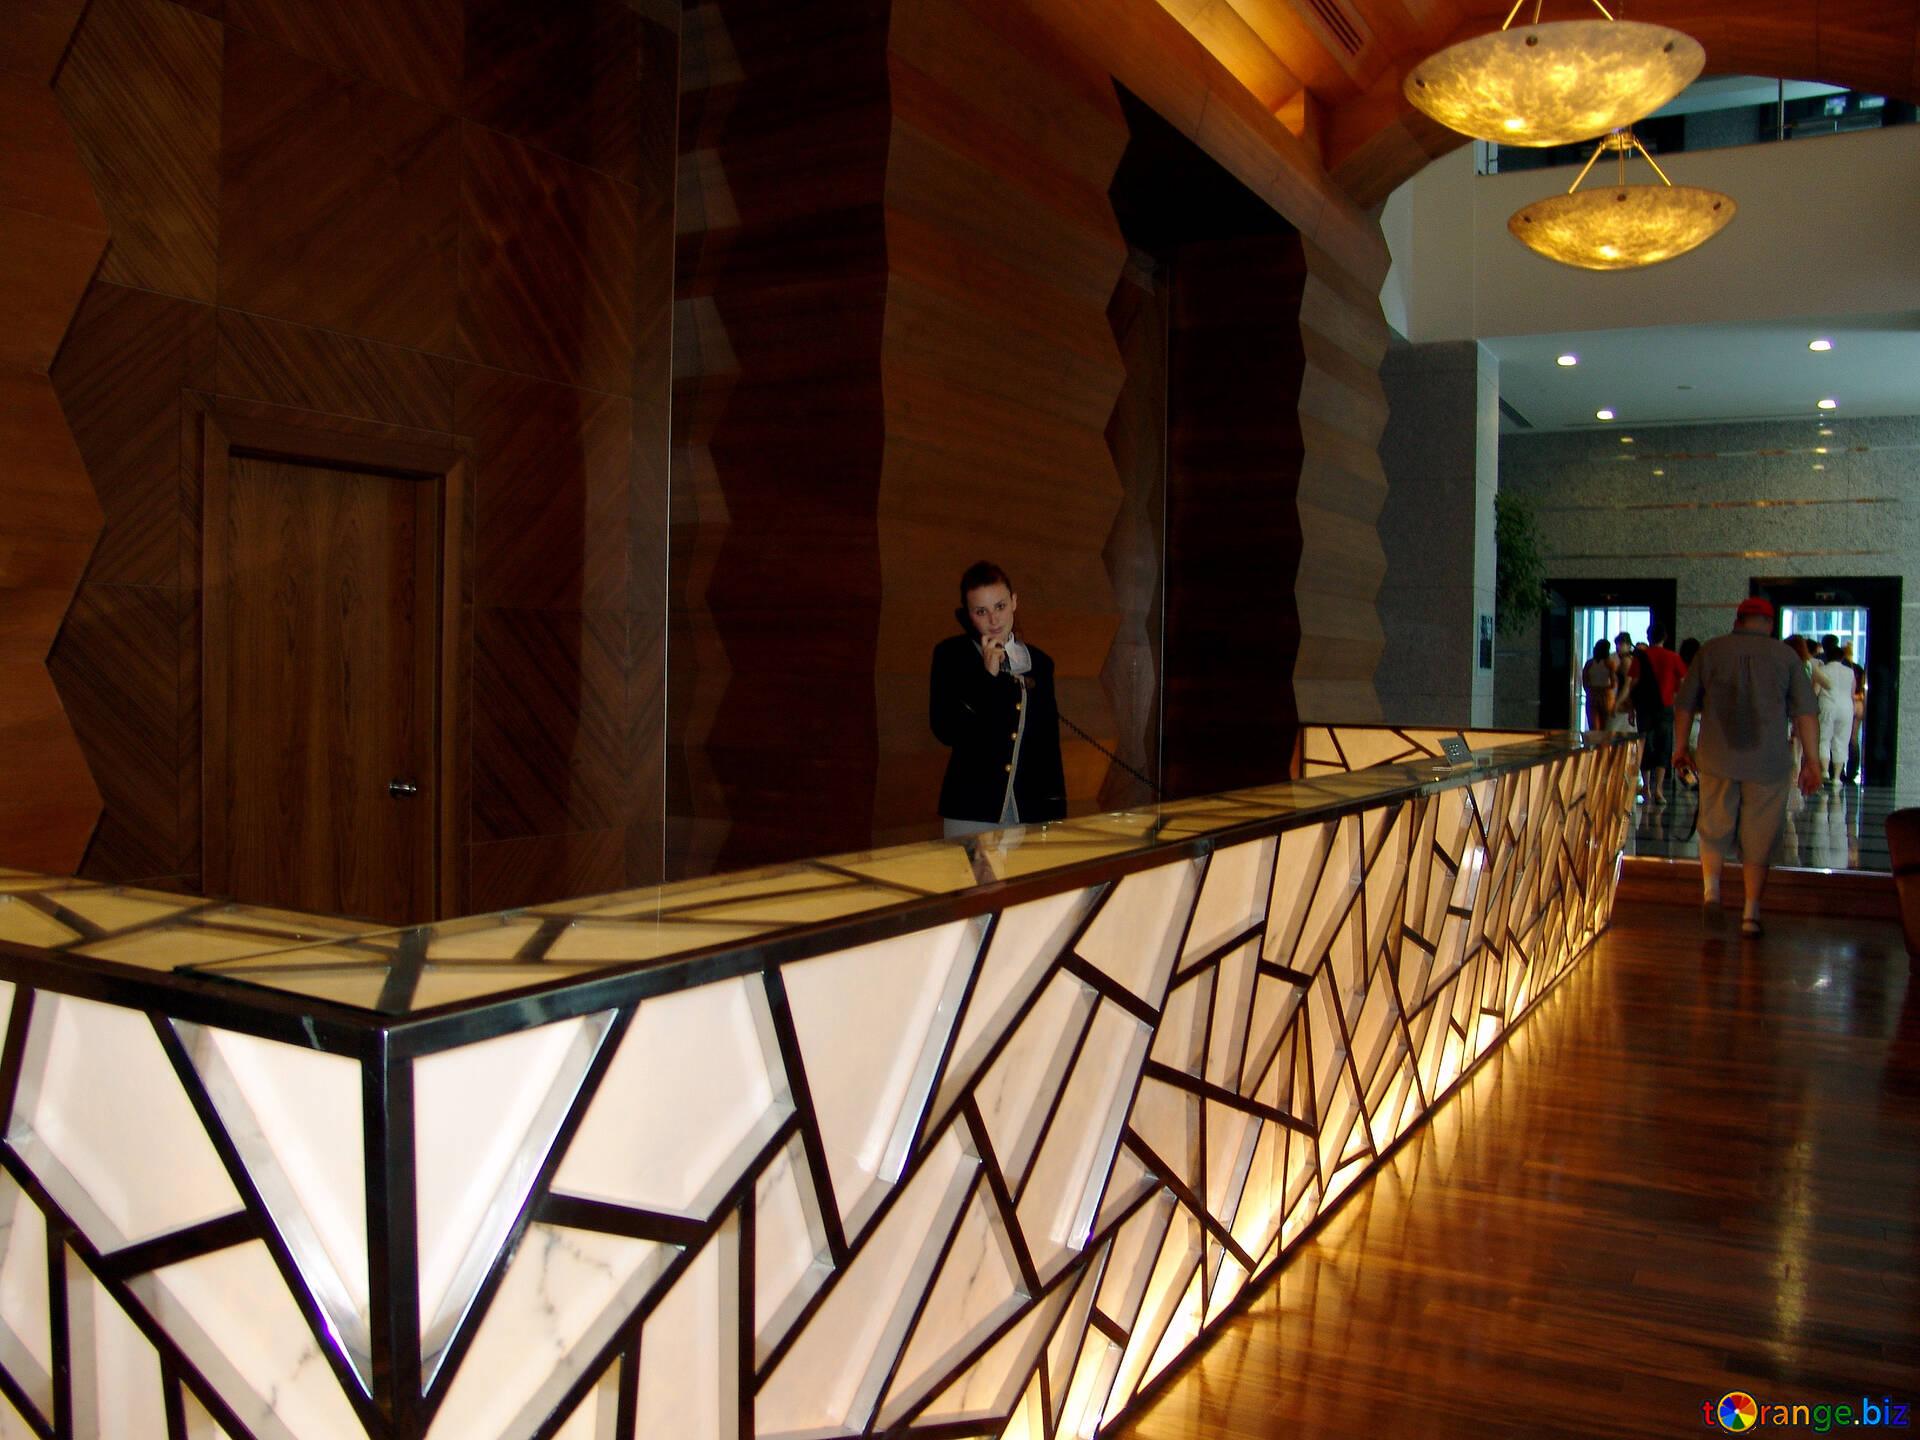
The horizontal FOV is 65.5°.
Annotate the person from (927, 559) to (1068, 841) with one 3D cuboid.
[{"bbox_3d":[0.110,0.114,4.617,0.374,1.126,0.295,-3,20,-1],"label":"person"}]

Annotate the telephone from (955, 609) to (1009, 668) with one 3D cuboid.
[{"bbox_3d":[0.072,-0.227,4.498,0.058,0.173,0.120,-27,5,-25],"label":"telephone"}]
